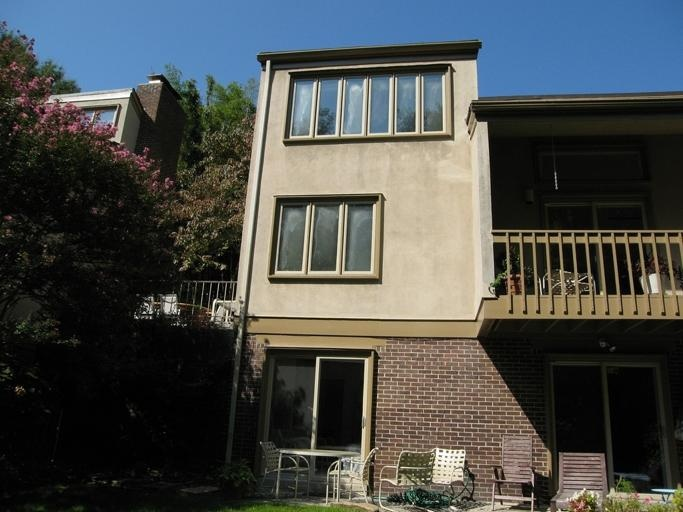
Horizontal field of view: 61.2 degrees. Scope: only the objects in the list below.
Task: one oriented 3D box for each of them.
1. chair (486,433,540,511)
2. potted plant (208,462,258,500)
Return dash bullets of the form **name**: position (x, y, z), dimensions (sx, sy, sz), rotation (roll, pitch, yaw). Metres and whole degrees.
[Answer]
- **chair**: position (4.063, 5.118, 13.608), dimensions (0.994, 1.621, 1.082), rotation (1, -4, 16)
- **potted plant**: position (-2.525, 5.331, 13.765), dimensions (0.689, 0.740, 0.689), rotation (11, -9, -33)
